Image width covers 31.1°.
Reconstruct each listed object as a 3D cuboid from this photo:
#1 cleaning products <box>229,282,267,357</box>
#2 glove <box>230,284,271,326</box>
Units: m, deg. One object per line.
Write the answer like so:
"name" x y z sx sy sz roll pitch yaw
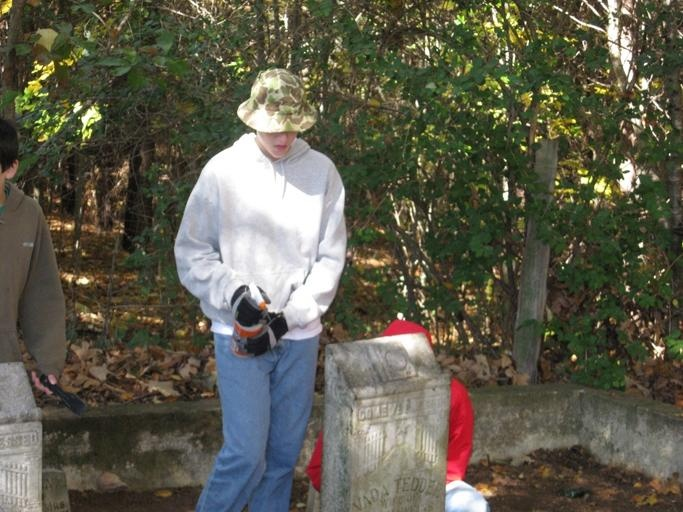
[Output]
"cleaning products" -0.625 0.423 8.176 0.235 0.445 0.288 -4 17 -33
"glove" -0.615 0.323 8.183 0.251 0.281 0.093 2 -4 -3
